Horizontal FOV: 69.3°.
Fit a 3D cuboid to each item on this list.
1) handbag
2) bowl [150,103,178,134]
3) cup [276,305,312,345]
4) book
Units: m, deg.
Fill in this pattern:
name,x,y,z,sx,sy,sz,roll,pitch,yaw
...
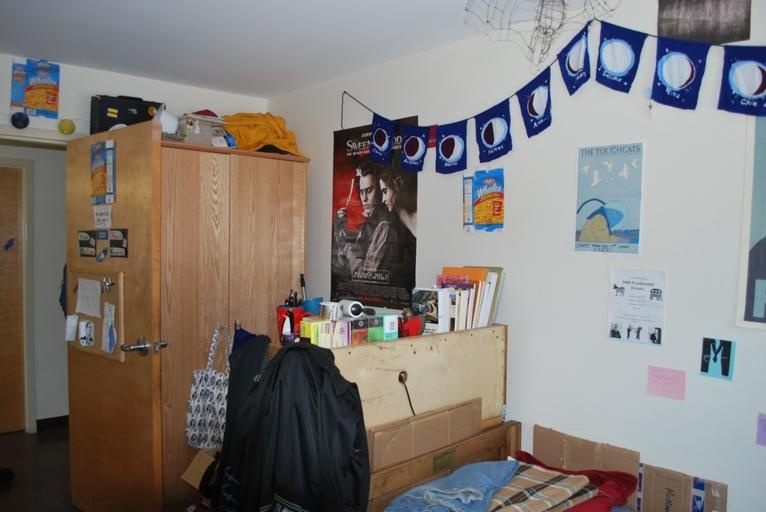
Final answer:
name,x,y,z,sx,sy,sz,roll,pitch,yaw
handbag,-1.261,0.953,3.978,0.289,0.842,0.379,1,2,-12
bowl,-1.583,-1.011,4.036,0.159,0.278,0.511,1,1,-17
cup,-0.547,0.402,3.239,0.230,0.224,0.158,-1,-5,35
book,0.487,0.278,3.625,0.564,0.405,0.279,0,2,-38
